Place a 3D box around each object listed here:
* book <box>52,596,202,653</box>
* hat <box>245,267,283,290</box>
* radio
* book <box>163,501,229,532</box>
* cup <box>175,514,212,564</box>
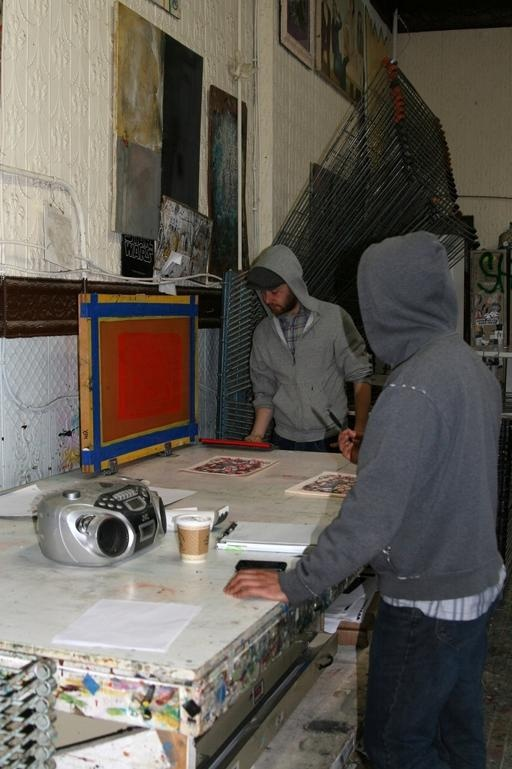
[{"bbox_3d":[-0.199,0.370,1.036,0.182,0.020,0.218,2,4,10],"label":"book"},{"bbox_3d":[0.042,-0.472,2.965,0.088,0.064,0.122,27,4,38],"label":"hat"},{"bbox_3d":[-0.336,0.232,1.368,0.160,0.114,0.232,2,2,15],"label":"radio"},{"bbox_3d":[-0.153,0.314,1.656,0.108,0.040,0.086,1,1,18],"label":"book"},{"bbox_3d":[-0.130,0.316,1.386,0.084,0.093,0.084,0,3,0],"label":"cup"}]
